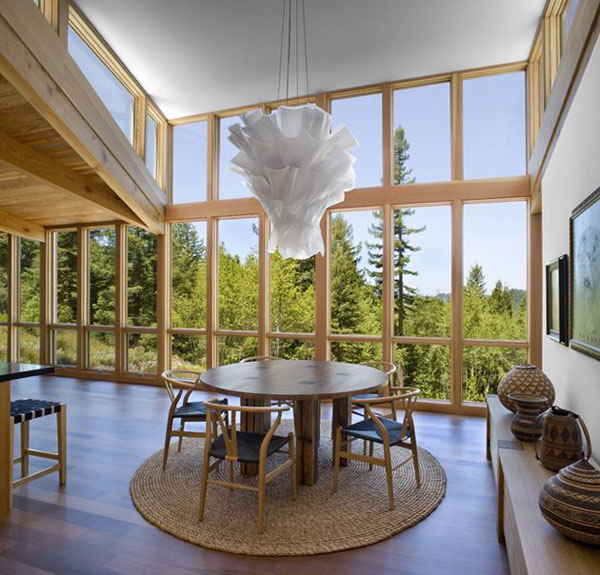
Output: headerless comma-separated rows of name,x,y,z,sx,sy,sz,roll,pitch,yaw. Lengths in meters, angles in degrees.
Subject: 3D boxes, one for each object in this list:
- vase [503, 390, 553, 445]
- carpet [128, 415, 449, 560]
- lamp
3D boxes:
vase,1.602,0.899,3.569,0.289,0.317,0.285,-3,-5,-34
carpet,-0.067,1.513,4.301,2.337,0.032,2.429,6,8,43
lamp,-0.013,-1.571,4.659,0.949,2.605,2.305,0,3,3
